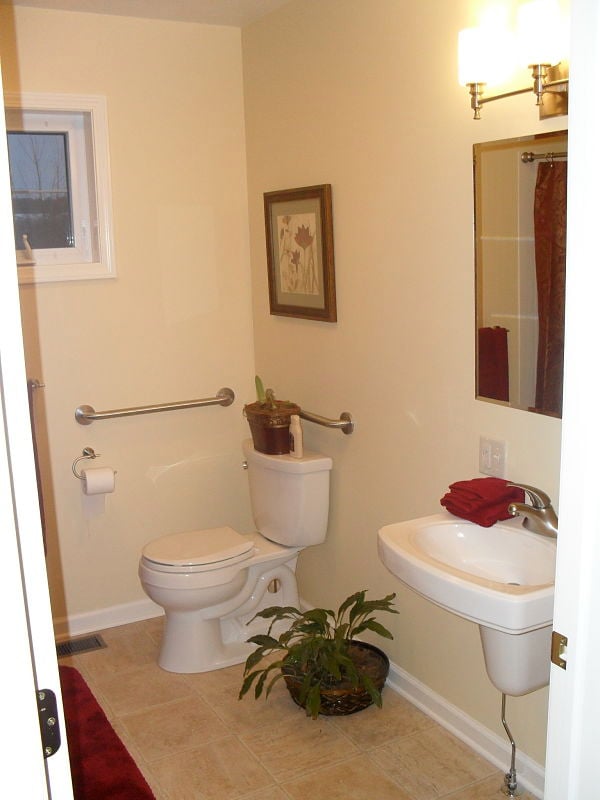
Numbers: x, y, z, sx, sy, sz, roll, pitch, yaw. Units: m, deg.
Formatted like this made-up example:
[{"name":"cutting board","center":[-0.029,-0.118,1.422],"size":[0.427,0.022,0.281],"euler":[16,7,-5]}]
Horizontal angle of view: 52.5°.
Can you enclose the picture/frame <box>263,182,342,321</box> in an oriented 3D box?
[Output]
[{"name":"picture/frame","center":[0.019,-0.661,2.654],"size":[0.045,0.690,0.573],"euler":[-9,11,-27]}]

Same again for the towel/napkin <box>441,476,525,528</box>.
[{"name":"towel/napkin","center":[0.554,0.252,1.761],"size":[0.145,0.083,0.152],"euler":[-15,22,-43]}]

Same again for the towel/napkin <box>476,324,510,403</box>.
[{"name":"towel/napkin","center":[0.588,-0.112,1.832],"size":[0.151,0.219,0.006],"euler":[1,-2,-34]}]

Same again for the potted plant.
[{"name":"potted plant","center":[0.139,0.974,2.393],"size":[0.451,0.267,0.741],"euler":[-10,10,3]}]

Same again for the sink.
[{"name":"sink","center":[0.431,0.440,1.591],"size":[0.486,0.140,0.432],"euler":[3,9,34]}]

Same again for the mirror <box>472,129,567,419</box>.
[{"name":"mirror","center":[0.622,-0.346,1.711],"size":[0.062,0.776,0.337],"euler":[-5,8,-28]}]

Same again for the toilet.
[{"name":"toilet","center":[-0.328,0.671,2.727],"size":[0.772,0.947,0.484],"euler":[-2,10,-32]}]

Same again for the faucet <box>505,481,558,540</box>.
[{"name":"faucet","center":[0.656,0.292,1.626],"size":[0.162,0.114,0.058],"euler":[7,12,42]}]

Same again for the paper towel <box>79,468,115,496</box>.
[{"name":"paper towel","center":[-0.901,0.325,2.691],"size":[0.138,0.140,0.108],"euler":[-1,4,-27]}]
